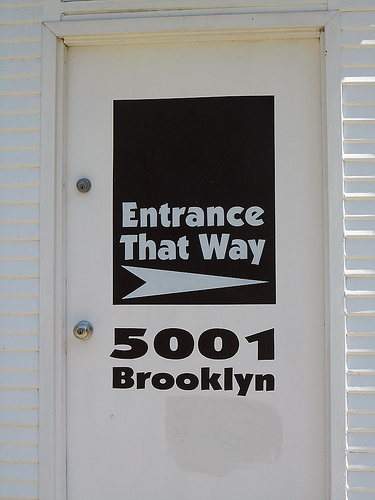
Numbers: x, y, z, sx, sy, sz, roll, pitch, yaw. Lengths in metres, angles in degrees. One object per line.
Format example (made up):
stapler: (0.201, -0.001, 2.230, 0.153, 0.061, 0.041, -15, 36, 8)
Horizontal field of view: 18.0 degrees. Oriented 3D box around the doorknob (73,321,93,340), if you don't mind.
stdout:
doorknob: (-0.505, 0.393, 5.717, 0.094, 0.068, 0.093, 1, -65, -4)
